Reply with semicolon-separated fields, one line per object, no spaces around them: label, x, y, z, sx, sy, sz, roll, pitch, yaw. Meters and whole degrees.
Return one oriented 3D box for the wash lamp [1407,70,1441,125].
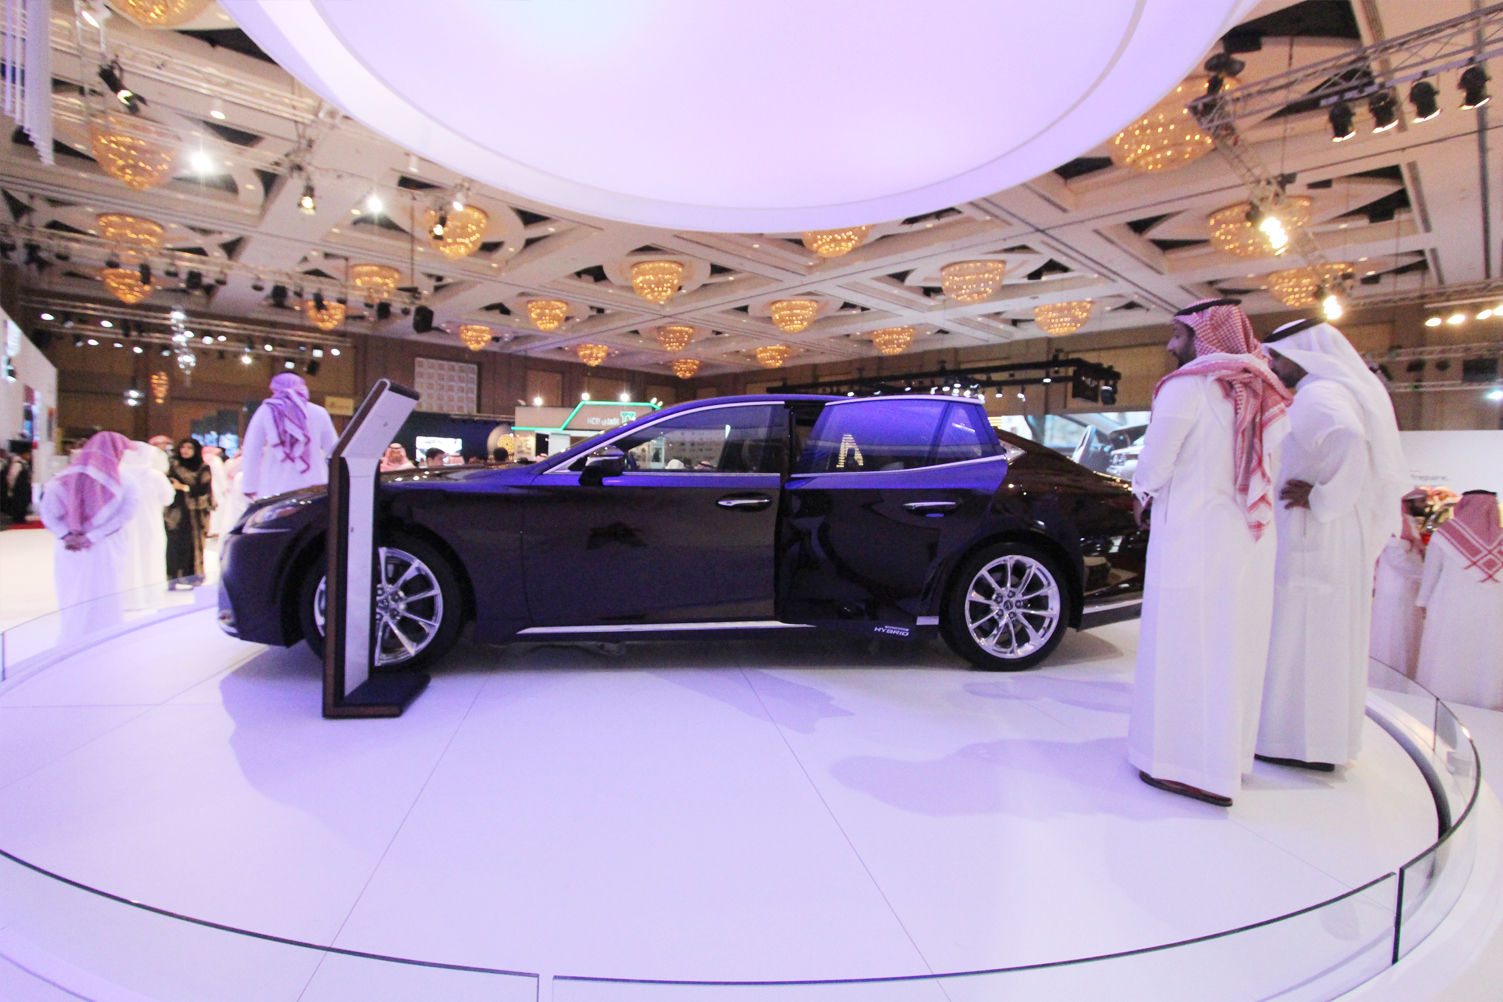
wash lamp;5.920;-3.574;7.727;0.185;0.408;0.873;5;8;40

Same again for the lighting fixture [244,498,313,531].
lighting fixture;-2.743;0.061;5.028;0.296;0.083;0.209;-19;4;26

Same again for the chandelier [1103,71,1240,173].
chandelier;3.630;-3.445;7.759;0.631;0.852;1.044;5;8;43

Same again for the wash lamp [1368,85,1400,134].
wash lamp;5.735;-3.562;7.954;0.218;0.431;0.890;4;7;35

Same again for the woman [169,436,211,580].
woman;-5.820;0.063;9.060;0.418;1.474;0.880;-4;7;-32

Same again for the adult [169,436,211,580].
adult;-5.818;0.052;9.057;0.420;1.452;0.874;-4;7;-32

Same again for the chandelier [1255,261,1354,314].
chandelier;7.449;-2.970;11.959;1.015;0.389;1.036;0;0;-2

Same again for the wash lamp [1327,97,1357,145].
wash lamp;5.216;-3.432;7.756;0.150;0.330;0.270;5;8;42

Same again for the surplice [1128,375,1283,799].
surplice;2.196;0.389;4.324;0.628;2.028;0.430;3;7;28
